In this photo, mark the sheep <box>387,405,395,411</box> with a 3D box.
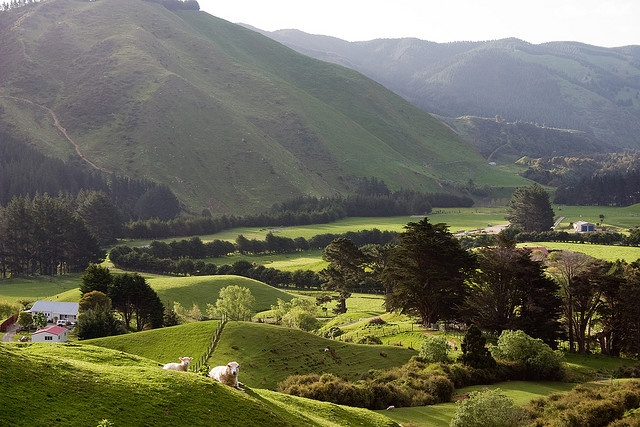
[{"bbox_3d":[10.096,27.625,83.612,1.129,0.597,0.815,8,-9,-43],"label":"sheep"}]

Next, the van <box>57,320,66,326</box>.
[{"bbox_3d":[-58.241,24.502,132.250,1.706,1.251,2.391,5,-7,-25],"label":"van"}]
